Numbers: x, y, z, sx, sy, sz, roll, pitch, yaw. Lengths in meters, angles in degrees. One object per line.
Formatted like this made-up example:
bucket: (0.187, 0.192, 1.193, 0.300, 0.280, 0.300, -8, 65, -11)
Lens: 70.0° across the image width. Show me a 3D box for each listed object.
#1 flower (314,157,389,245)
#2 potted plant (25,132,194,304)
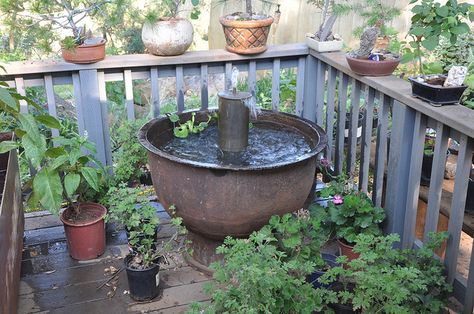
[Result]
flower: (0.933, 0.419, 2.684, 0.417, 0.281, 0.671, -2, 11, 28)
potted plant: (-0.893, 0.571, 2.752, 1.146, 0.772, 0.733, 17, 27, 41)
